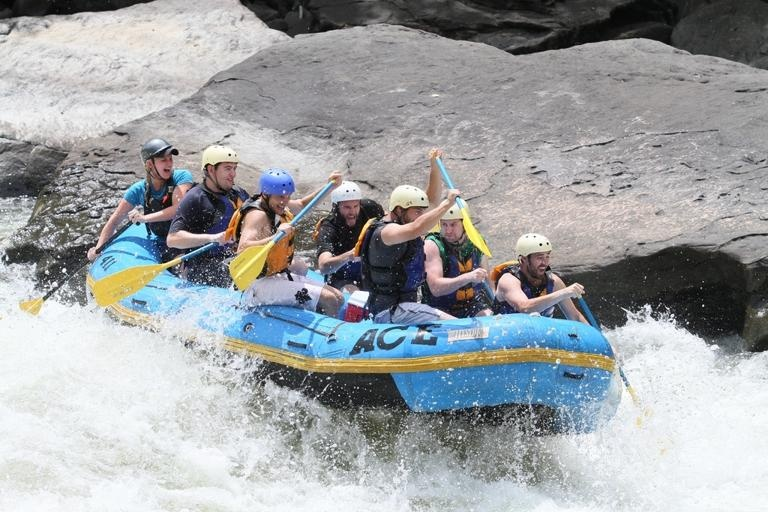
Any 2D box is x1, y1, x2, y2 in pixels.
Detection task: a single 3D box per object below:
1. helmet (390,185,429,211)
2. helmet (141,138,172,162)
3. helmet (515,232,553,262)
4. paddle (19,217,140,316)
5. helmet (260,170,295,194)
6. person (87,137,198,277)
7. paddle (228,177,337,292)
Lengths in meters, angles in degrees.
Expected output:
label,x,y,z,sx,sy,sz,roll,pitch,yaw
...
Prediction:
label,x,y,z,sx,sy,sz,roll,pitch,yaw
helmet,0.264,-0.605,10.056,0.368,0.224,0.253,17,9,11
helmet,-2.724,-1.258,11.315,0.369,0.157,0.249,-14,3,21
helmet,1.569,-0.106,10.075,0.334,0.239,0.261,-24,-12,41
paddle,-3.713,0.162,11.627,1.824,0.363,0.308,-34,1,-14
helmet,-1.148,-0.785,10.153,0.305,0.168,0.309,-9,19,-37
person,-2.768,-0.828,10.953,1.290,0.817,1.629,-2,-2,-10
paddle,-1.131,-0.202,10.580,1.851,0.385,0.082,-37,21,-9
